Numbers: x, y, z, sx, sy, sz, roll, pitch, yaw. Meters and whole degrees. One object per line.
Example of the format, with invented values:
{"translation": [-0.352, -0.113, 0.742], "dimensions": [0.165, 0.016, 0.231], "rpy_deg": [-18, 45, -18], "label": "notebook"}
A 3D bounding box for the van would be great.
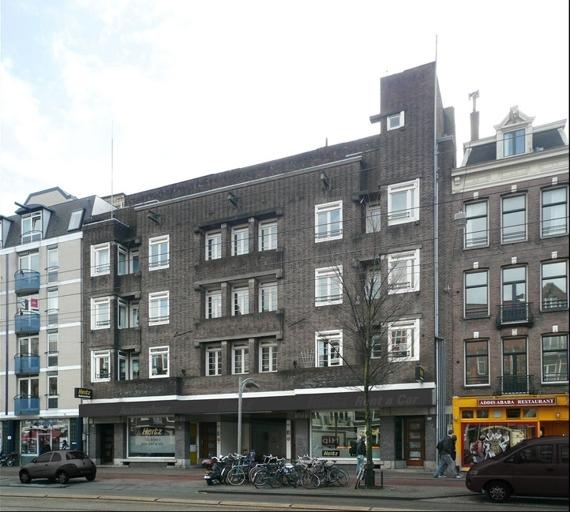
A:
{"translation": [9.530, 8.855, 53.309], "dimensions": [4.029, 1.844, 2.160], "rpy_deg": [1, -13, 9], "label": "van"}

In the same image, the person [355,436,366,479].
{"translation": [3.466, 9.447, 60.922], "dimensions": [0.667, 1.569, 0.888], "rpy_deg": [3, -17, -6], "label": "person"}

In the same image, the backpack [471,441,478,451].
{"translation": [9.200, 9.317, 63.096], "dimensions": [0.155, 0.407, 0.297], "rpy_deg": [9, -17, -37], "label": "backpack"}
